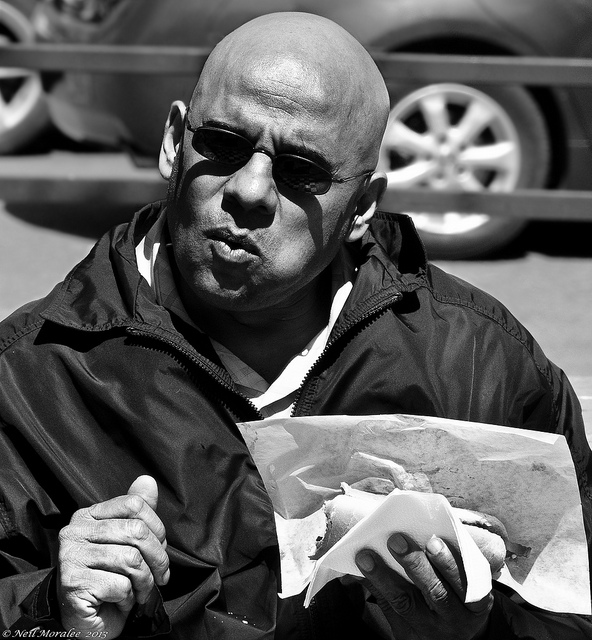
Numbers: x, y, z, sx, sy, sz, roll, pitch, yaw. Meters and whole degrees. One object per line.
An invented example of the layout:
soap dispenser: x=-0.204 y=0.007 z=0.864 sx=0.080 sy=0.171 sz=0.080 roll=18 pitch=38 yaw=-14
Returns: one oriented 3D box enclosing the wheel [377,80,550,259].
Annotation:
wheel: x=0.637 y=-0.568 z=4.475 sx=0.590 sy=0.714 sz=0.227 roll=-1 pitch=-4 yaw=4
